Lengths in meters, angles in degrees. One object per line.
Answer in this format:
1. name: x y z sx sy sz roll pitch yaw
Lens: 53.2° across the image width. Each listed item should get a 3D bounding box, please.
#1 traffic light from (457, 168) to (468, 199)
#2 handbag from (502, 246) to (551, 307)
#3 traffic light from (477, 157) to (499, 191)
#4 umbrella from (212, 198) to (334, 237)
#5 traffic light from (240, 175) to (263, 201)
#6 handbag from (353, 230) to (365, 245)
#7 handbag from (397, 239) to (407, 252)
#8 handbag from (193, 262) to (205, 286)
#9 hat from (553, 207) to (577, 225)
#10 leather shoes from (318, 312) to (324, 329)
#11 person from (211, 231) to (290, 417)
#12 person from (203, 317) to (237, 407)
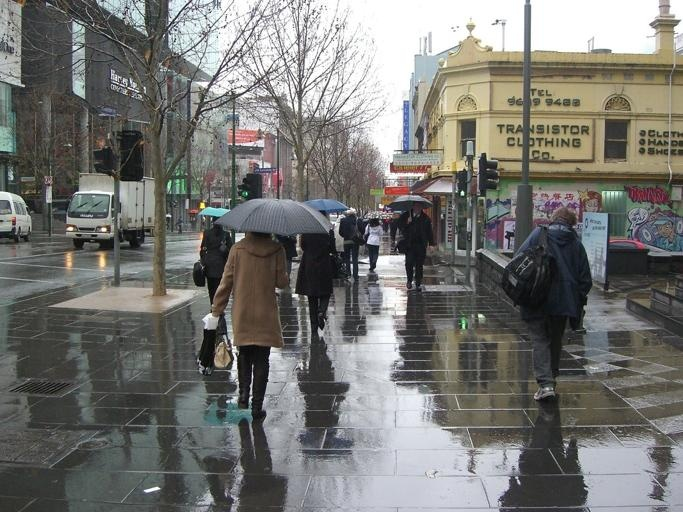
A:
1. traffic light: 3.321 -2.007 18.811 0.281 0.703 0.477 1 6 11
2. handbag: 2.092 0.217 7.693 0.539 0.657 0.266 1 6 13
3. traffic light: 3.778 -2.124 17.595 0.488 1.019 0.995 1 6 11
4. umbrella: -0.755 -0.444 7.679 1.203 0.383 0.788 -2 7 -15
5. traffic light: -2.872 -2.181 21.470 0.644 0.815 2.208 -1 7 -10
6. handbag: 0.498 -0.519 19.505 0.213 0.382 0.364 0 10 2
7. handbag: 1.476 -0.233 16.633 0.227 0.373 0.440 0 6 5
8. handbag: -2.363 0.304 11.317 0.186 0.425 0.425 -1 6 -13
9. hat: 2.644 -0.429 8.033 0.194 0.249 0.239 13 13 9
10. leather shoes: -0.345 1.096 11.448 0.080 0.265 0.101 0 -9 -1
11. person: -0.986 0.730 7.499 0.811 1.970 0.636 -1 5 -6
12. person: -1.470 1.095 8.017 0.512 0.986 0.974 -4 8 -14
